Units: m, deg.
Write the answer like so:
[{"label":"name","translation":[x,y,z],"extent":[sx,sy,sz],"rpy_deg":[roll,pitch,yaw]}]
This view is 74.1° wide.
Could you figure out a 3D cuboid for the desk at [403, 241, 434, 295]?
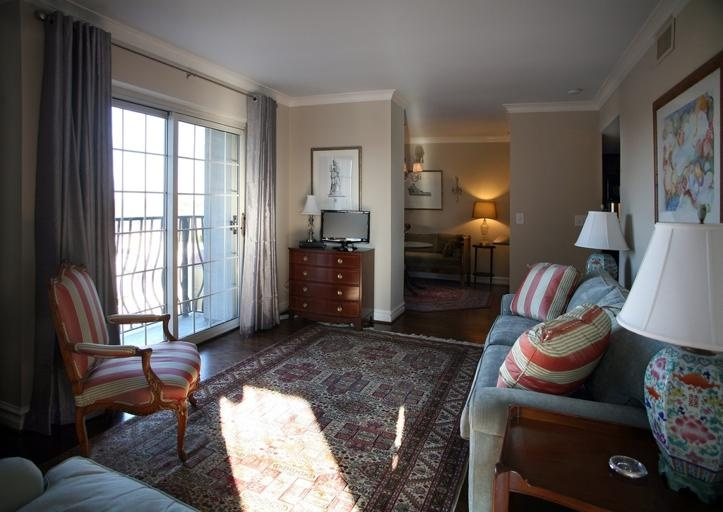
[{"label":"desk","translation":[0.910,0.197,8.513],"extent":[0.924,0.976,0.711],"rpy_deg":[0,-2,7]}]

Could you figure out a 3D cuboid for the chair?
[{"label":"chair","translation":[-1.622,0.688,3.450],"extent":[0.928,1.295,0.879],"rpy_deg":[3,9,-4]}]

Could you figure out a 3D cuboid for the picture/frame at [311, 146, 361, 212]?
[{"label":"picture/frame","translation":[-0.293,-0.980,5.955],"extent":[0.760,1.037,0.076],"rpy_deg":[3,10,18]}]

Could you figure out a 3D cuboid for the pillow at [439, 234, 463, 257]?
[{"label":"pillow","translation":[1.637,-0.198,8.537],"extent":[0.373,0.345,0.504],"rpy_deg":[4,15,17]}]

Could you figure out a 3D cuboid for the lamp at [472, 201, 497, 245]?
[{"label":"lamp","translation":[2.199,-0.619,8.619],"extent":[0.432,0.740,0.397],"rpy_deg":[4,14,18]}]
